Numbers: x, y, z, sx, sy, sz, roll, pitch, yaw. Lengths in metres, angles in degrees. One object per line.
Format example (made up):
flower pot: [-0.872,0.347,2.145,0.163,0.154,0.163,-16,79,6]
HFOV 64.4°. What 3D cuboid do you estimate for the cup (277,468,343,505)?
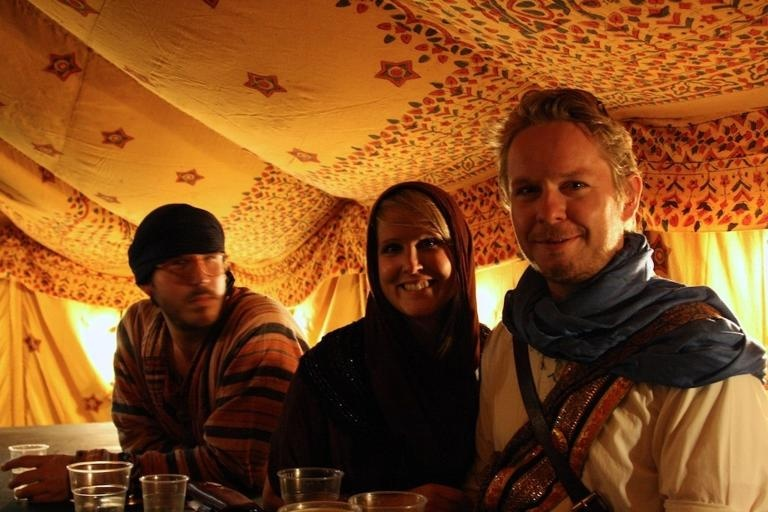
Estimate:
cup: [-0.200,0.628,1.670,0.158,0.090,0.200,4,-19,-24]

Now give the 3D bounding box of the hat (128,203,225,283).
hat: [-0.971,-0.047,2.899,0.449,0.320,0.340,-26,-6,22]

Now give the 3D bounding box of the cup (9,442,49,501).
cup: [-1.337,0.790,2.242,0.185,0.131,0.177,0,-4,0]
